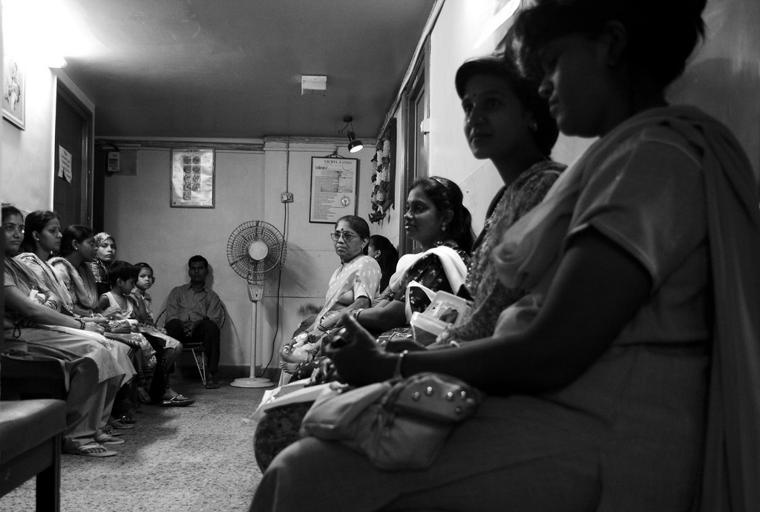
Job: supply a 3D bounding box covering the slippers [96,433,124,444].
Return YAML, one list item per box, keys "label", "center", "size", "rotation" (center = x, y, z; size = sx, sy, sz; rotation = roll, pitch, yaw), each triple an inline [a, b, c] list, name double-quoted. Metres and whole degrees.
- label: "slippers"
  center: [-1.877, 1.282, 4.052]
  size: [0.184, 0.051, 0.068]
  rotation: [1, 2, 4]

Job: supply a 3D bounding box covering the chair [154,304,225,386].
- label: "chair"
  center: [-2.253, 1.078, 6.996]
  size: [0.584, 0.793, 0.626]
  rotation: [7, -8, 3]

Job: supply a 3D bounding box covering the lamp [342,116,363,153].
- label: "lamp"
  center: [-0.337, -1.465, 6.936]
  size: [0.205, 0.376, 0.204]
  rotation: [-16, 2, 31]

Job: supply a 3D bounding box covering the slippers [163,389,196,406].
- label: "slippers"
  center: [-1.951, 1.373, 5.613]
  size: [0.249, 0.100, 0.139]
  rotation: [-1, -1, 11]

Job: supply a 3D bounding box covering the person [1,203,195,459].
- label: "person"
  center: [-2.229, 0.480, 4.121]
  size: [0.823, 1.662, 0.971]
  rotation: [3, -4, -23]

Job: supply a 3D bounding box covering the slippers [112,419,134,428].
- label: "slippers"
  center: [-2.059, 1.341, 4.687]
  size: [0.081, 0.059, 0.227]
  rotation: [5, -1, -12]

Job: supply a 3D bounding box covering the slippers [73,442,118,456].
- label: "slippers"
  center: [-1.855, 1.265, 3.795]
  size: [0.285, 0.111, 0.109]
  rotation: [3, -2, -5]
